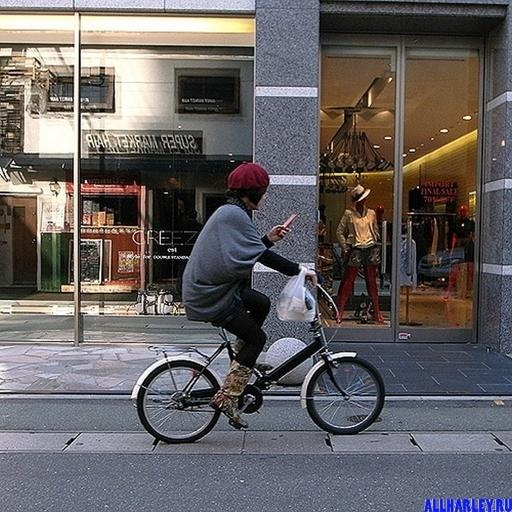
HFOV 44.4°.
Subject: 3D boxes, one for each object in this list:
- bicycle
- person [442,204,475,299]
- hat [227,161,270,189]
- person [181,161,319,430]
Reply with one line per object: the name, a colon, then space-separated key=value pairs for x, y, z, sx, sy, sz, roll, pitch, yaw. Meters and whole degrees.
bicycle: x=-0.014 y=0.880 z=5.092 sx=2.200 sy=1.201 sz=0.940 roll=-3 pitch=2 yaw=-5
person: x=2.583 y=-0.069 z=7.887 sx=0.308 sy=1.118 sz=0.125 roll=3 pitch=7 yaw=21
hat: x=-0.065 y=-0.567 z=4.393 sx=0.192 sy=0.151 sz=0.254 roll=0 pitch=9 yaw=11
person: x=-0.032 y=0.273 z=4.622 sx=1.039 sy=1.818 sz=1.068 roll=-1 pitch=1 yaw=26
